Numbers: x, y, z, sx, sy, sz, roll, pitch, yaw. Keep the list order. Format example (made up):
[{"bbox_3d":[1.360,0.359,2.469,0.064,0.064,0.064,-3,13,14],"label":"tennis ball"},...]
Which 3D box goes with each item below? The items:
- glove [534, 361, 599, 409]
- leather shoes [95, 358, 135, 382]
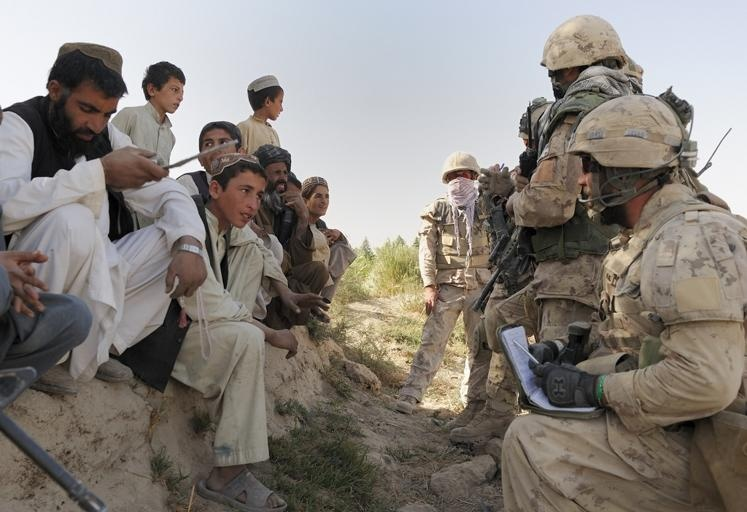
[{"bbox_3d":[1.202,0.805,3.774,0.338,0.260,0.085,-4,-12,32],"label":"glove"},{"bbox_3d":[-1.743,0.775,4.138,0.260,0.101,0.101,13,-45,-35],"label":"leather shoes"}]
